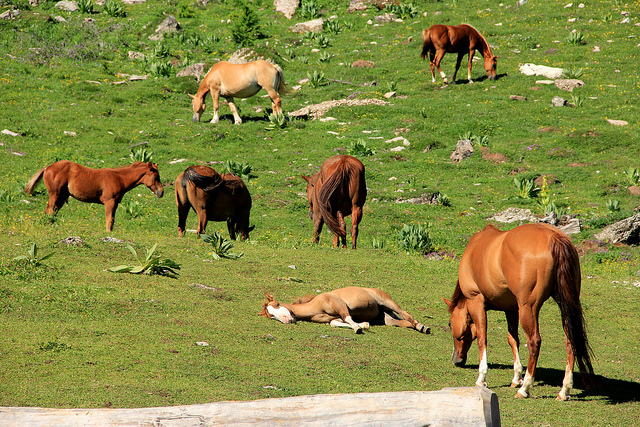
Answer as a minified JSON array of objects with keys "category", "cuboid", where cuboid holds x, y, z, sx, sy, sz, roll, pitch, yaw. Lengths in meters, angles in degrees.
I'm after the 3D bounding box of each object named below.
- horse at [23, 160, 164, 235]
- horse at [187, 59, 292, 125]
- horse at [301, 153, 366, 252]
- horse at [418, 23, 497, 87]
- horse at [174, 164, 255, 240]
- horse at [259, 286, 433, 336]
[{"category":"horse","cuboid":[-9.027,-1.195,45.801,8.029,3.944,3.317,1,0,-23]},{"category":"horse","cuboid":[-3.947,-6.072,56.028,4.356,3.065,1.256,1,5,-2]},{"category":"horse","cuboid":[0.718,-0.485,46.095,2.175,3.861,1.356,2,5,12]},{"category":"horse","cuboid":[7.076,-8.216,58.513,3.742,3.331,3.577,-3,21,22]},{"category":"horse","cuboid":[-4.310,-0.453,46.302,2.890,3.053,1.246,-3,6,-36]},{"category":"horse","cuboid":[0.913,3.513,41.193,5.617,1.612,0.857,0,5,-6]}]
